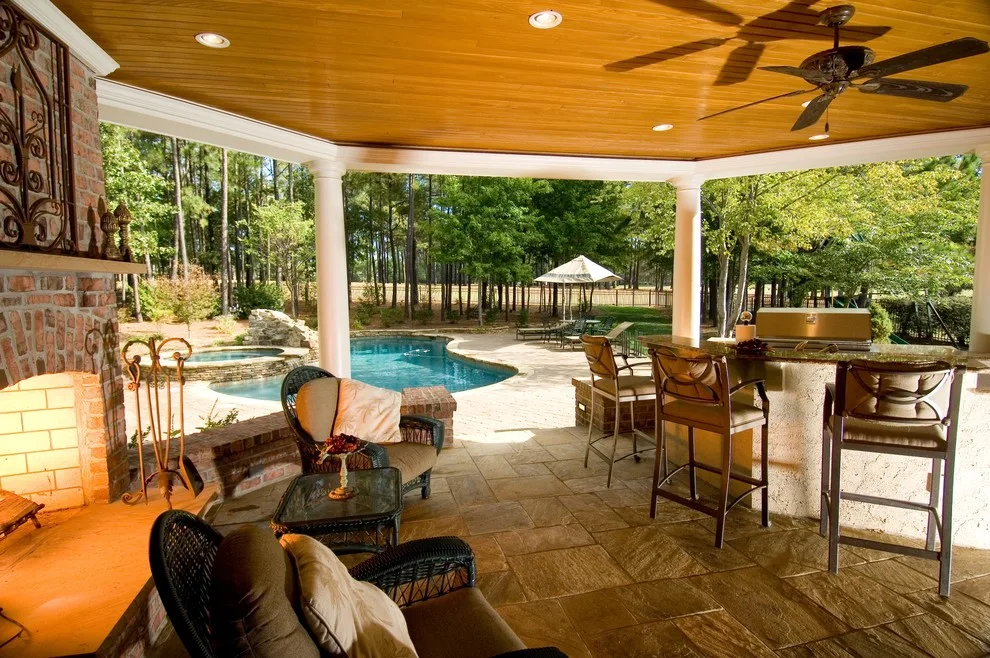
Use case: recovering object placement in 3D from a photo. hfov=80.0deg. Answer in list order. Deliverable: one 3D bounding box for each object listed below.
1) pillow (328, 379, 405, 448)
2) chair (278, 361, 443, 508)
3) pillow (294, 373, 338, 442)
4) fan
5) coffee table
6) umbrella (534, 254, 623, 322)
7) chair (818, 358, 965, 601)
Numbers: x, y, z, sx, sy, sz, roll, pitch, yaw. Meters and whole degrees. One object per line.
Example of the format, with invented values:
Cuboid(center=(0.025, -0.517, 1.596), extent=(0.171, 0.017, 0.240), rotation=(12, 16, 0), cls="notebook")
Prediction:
Cuboid(center=(-1.173, 0.782, 5.571), extent=(0.819, 0.648, 0.161), rotation=(18, 6, 20), cls="pillow")
Cuboid(center=(-1.191, 1.048, 5.489), extent=(1.123, 0.932, 1.292), rotation=(-5, 9, -39), cls="chair")
Cuboid(center=(-1.620, 0.716, 5.331), extent=(0.481, 0.498, 0.139), rotation=(9, -9, -30), cls="pillow")
Cuboid(center=(3.017, -2.044, 4.685), extent=(1.270, 0.668, 1.548), rotation=(1, 6, 30), cls="fan")
Cuboid(center=(-1.190, 1.372, 4.631), extent=(1.045, 0.208, 0.999), rotation=(3, 15, 9), cls="coffee table")
Cuboid(center=(2.349, -1.274, 17.385), extent=(2.567, 1.538, 2.313), rotation=(0, 1, 22), cls="umbrella")
Cuboid(center=(3.119, 1.104, 4.702), extent=(0.953, 1.787, 0.727), rotation=(1, 8, 27), cls="chair")
